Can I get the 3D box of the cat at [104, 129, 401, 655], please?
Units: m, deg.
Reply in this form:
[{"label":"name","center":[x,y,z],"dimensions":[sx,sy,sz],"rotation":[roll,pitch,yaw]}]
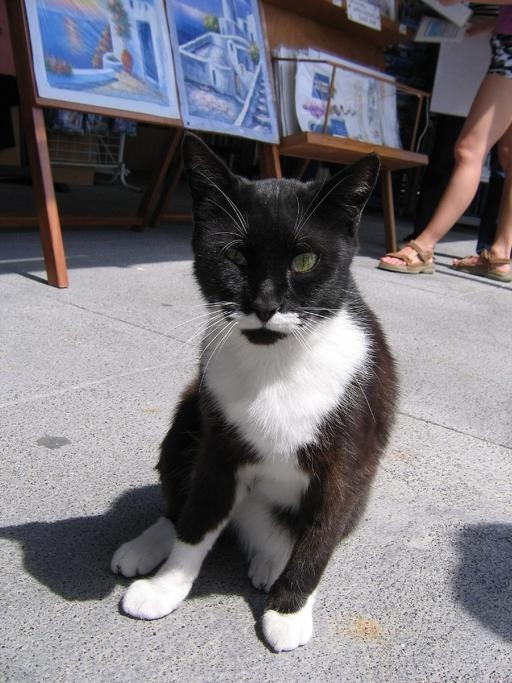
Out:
[{"label":"cat","center":[0.050,0.058,1.162],"dimensions":[0.775,0.870,0.795],"rotation":[2,22,-7]}]
